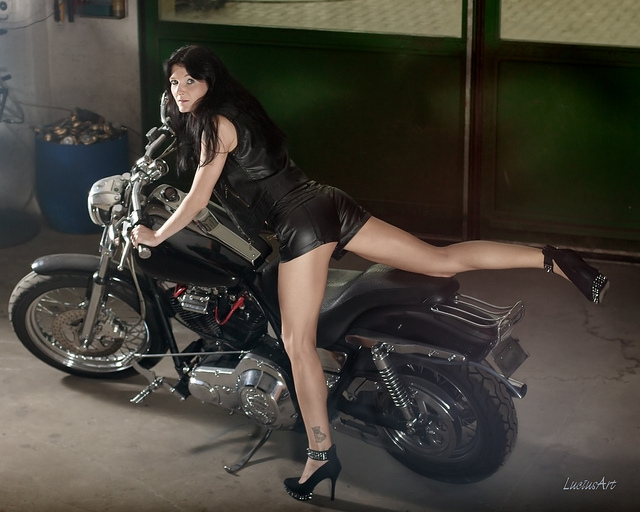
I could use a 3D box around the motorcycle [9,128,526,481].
[{"bbox_3d":[-0.315,0.211,2.369,2.293,1.183,0.834,10,23,17],"label":"motorcycle"}]
